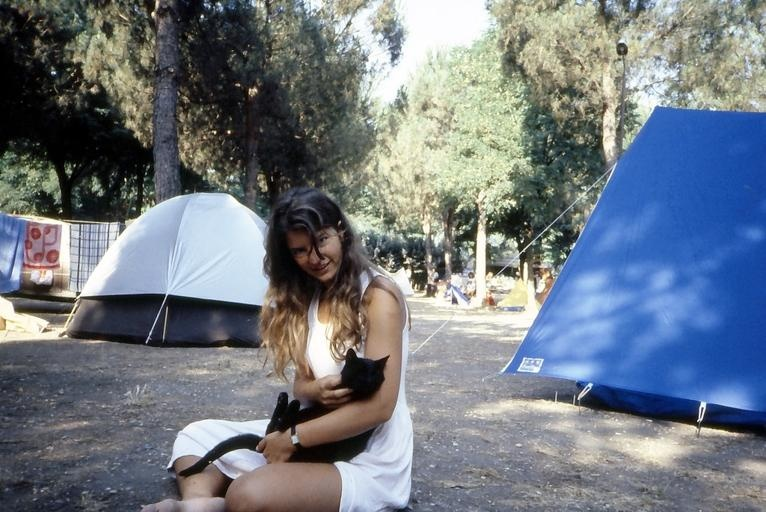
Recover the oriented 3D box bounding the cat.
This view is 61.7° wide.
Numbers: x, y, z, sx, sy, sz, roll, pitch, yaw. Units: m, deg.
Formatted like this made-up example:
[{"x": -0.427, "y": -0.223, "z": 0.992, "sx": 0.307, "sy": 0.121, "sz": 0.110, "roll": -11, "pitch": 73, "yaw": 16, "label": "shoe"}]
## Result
[{"x": -0.717, "y": 1.304, "z": 5.461, "sx": 1.472, "sy": 0.954, "sz": 0.375, "roll": 6, "pitch": -2, "yaw": 16, "label": "cat"}]
